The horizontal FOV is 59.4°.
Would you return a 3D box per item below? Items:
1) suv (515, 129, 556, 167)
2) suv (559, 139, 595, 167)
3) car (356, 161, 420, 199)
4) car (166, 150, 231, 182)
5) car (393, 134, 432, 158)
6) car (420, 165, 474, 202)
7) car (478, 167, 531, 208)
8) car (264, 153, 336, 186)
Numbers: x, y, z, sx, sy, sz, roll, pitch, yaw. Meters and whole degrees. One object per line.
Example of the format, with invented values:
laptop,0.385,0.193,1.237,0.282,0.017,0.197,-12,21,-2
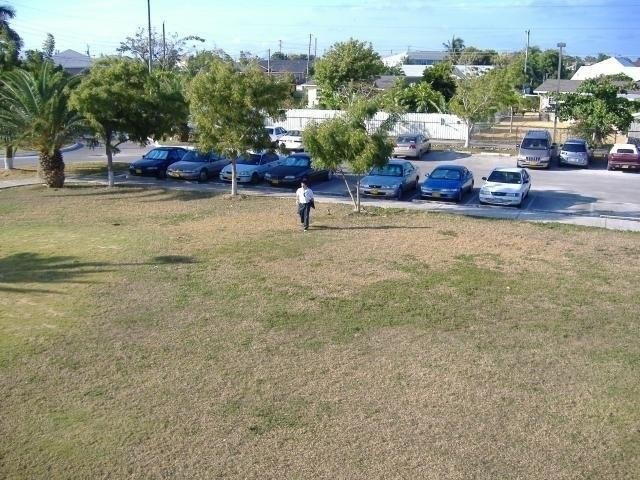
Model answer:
suv,13.556,-5.777,34.869,1.747,1.397,3.378,5,23,25
suv,16.386,-5.550,35.822,1.323,1.134,2.546,6,21,29
car,3.315,-2.877,26.285,1.643,1.532,3.456,9,16,33
car,-6.591,-4.058,31.348,1.743,1.353,3.908,5,14,16
car,6.798,-6.313,40.011,2.321,1.693,5.268,5,18,20
car,5.986,-2.547,25.835,1.292,0.961,2.820,5,17,22
car,8.032,-2.307,24.442,1.615,1.525,1.996,9,16,32
car,-1.259,-3.720,29.580,2.300,1.522,3.009,7,15,27
